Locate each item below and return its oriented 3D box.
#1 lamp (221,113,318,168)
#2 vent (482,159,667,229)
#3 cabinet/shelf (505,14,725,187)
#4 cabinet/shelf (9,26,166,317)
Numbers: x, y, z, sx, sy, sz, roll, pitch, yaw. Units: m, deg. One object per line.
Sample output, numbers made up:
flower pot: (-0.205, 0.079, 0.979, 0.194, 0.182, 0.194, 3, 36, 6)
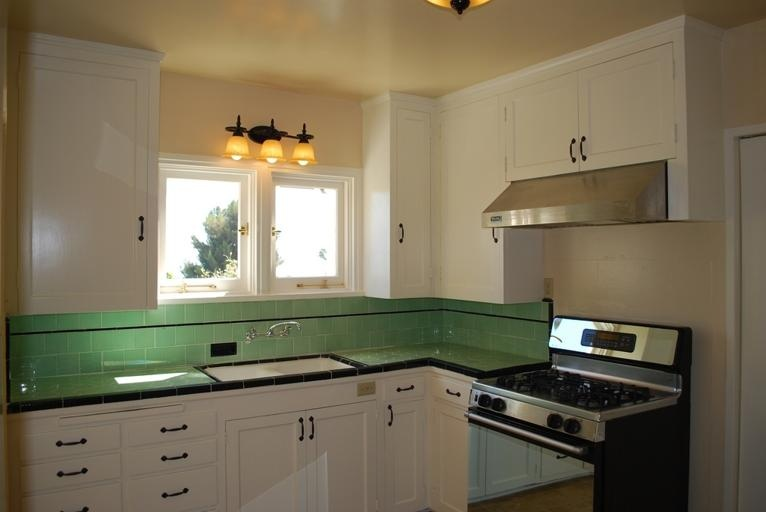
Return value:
lamp: (-0.824, -0.859, 4.223, 0.683, 0.305, 0.227, 3, 7, -8)
vent: (1.209, -0.378, 3.734, 0.353, 0.369, 1.140, -5, 4, -41)
cabinet/shelf: (1.433, -0.936, 3.860, 0.437, 0.762, 1.271, 0, -1, -39)
cabinet/shelf: (-2.054, -0.477, 3.777, 0.931, 1.719, 0.632, -1, 8, -45)
